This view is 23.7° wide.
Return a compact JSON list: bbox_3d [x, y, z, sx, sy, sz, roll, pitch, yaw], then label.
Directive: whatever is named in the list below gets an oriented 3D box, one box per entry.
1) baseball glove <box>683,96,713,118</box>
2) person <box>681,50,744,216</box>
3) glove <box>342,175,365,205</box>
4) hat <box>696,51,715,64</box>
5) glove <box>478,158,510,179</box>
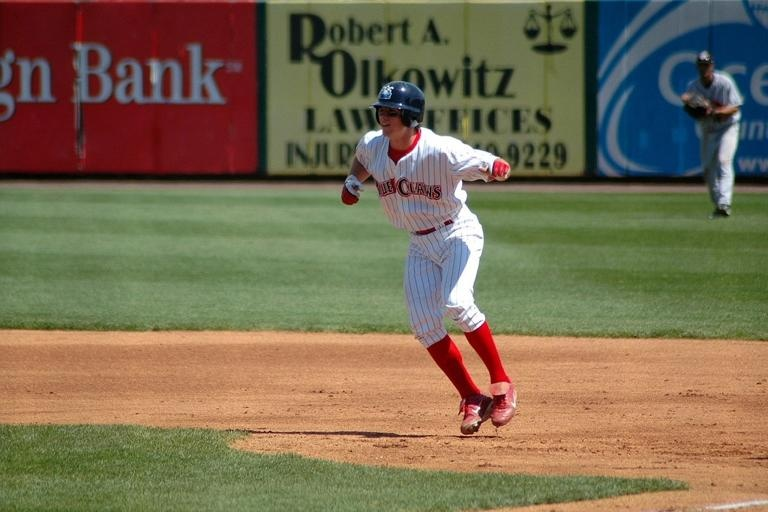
[{"bbox_3d":[4.853,-2.356,28.651,0.374,0.377,0.290,17,4,-6],"label":"baseball glove"},{"bbox_3d":[5.138,-1.907,28.719,0.850,2.617,0.542,-2,6,9],"label":"person"},{"bbox_3d":[-0.397,-0.824,23.290,0.124,0.356,0.256,22,-50,-28],"label":"glove"},{"bbox_3d":[4.981,-3.094,28.524,0.216,0.239,0.261,-6,22,1],"label":"hat"},{"bbox_3d":[1.422,-1.108,23.112,0.285,0.282,0.284,-2,6,9],"label":"glove"}]
